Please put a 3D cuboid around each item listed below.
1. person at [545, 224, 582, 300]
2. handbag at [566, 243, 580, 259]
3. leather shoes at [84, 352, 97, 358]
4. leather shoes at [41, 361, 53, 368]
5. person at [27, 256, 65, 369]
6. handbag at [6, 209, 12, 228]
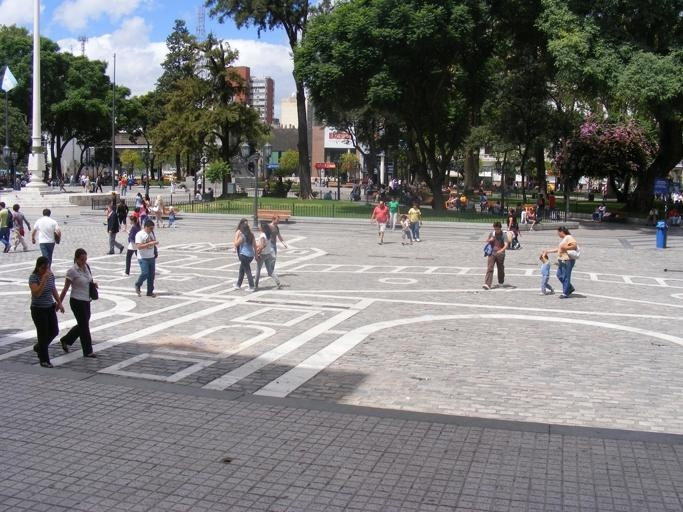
[{"bbox_3d":[6.253,0.169,18.487,0.626,1.948,0.980,2,7,18],"label":"person"},{"bbox_3d":[6.487,-0.133,18.558,0.361,0.377,0.392,2,5,11],"label":"handbag"},{"bbox_3d":[-4.617,1.840,12.215,0.217,0.088,0.225,-5,8,-33],"label":"leather shoes"},{"bbox_3d":[-5.146,1.918,11.581,0.224,0.091,0.077,4,8,25],"label":"leather shoes"},{"bbox_3d":[-5.249,0.965,11.820,0.525,1.950,0.785,-3,7,-24],"label":"person"},{"bbox_3d":[-12.820,-1.409,25.611,0.202,0.676,0.821,-3,7,-27],"label":"handbag"}]
